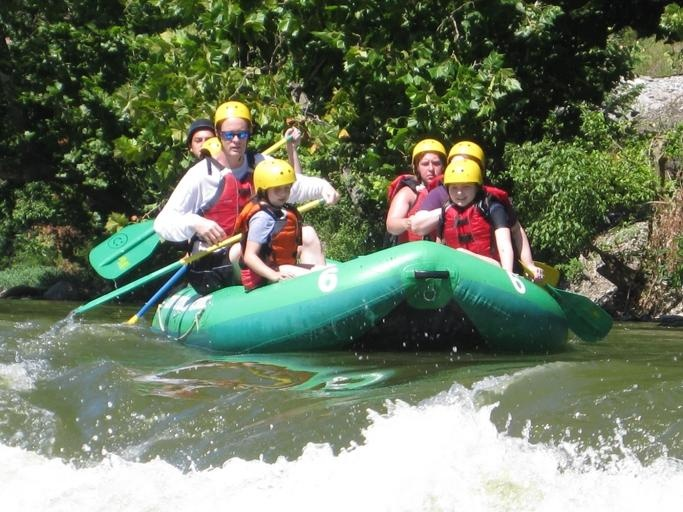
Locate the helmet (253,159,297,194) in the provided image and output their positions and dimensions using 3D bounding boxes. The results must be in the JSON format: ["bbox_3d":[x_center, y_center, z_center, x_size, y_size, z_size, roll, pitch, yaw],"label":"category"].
[{"bbox_3d":[-0.649,-0.706,7.853,0.387,0.352,0.333,6,8,20],"label":"helmet"}]

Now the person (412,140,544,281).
[{"bbox_3d":[1.192,-0.446,7.939,1.140,1.386,0.567,-12,25,18],"label":"person"}]

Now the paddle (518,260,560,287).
[{"bbox_3d":[1.939,0.221,7.882,0.332,0.332,0.274,-2,10,-25],"label":"paddle"}]
